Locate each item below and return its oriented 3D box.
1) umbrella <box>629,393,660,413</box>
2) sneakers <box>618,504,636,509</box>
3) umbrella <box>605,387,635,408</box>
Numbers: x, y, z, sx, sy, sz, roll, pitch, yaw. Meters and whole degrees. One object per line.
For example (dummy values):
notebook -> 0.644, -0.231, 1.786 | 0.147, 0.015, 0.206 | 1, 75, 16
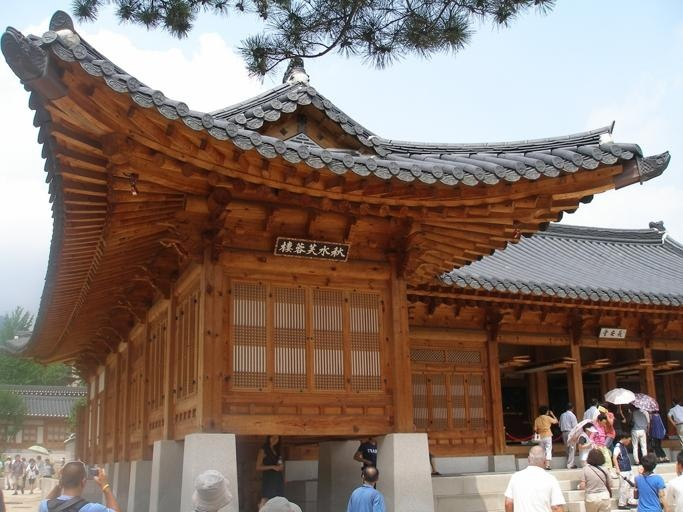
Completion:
umbrella -> 6.602, 3.370, 15.735 | 0.749, 0.230, 0.713 | 9, 11, -46
sneakers -> 5.336, 4.696, 13.085 | 0.349, 0.112, 0.103 | -4, -9, 2
umbrella -> 6.298, 3.146, 15.652 | 0.745, 0.292, 0.705 | -3, 1, -38
